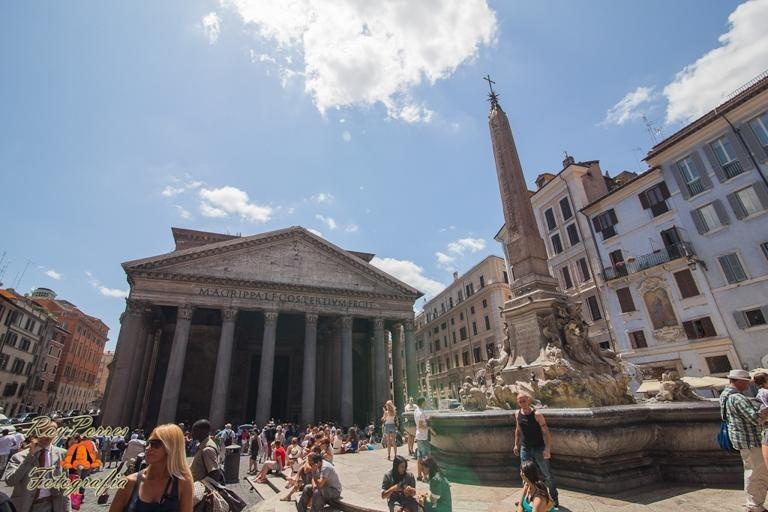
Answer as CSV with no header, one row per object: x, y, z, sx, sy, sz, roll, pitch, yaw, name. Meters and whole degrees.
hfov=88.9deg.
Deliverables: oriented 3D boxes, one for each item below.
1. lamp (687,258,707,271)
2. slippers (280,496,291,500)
18.330,0.494,22.923,0.781,0.839,0.372,-21,-29,35,lamp
-2.701,6.663,10.829,0.292,0.104,0.112,4,-32,-1,slippers
